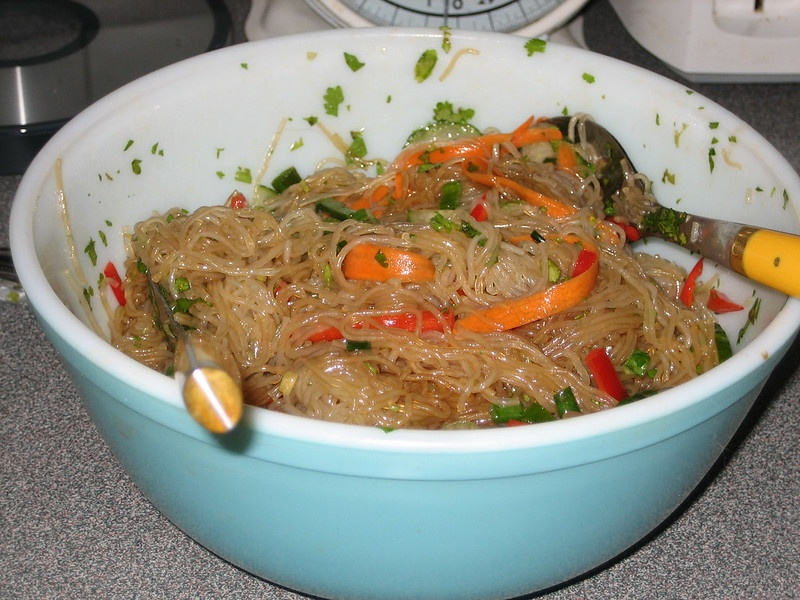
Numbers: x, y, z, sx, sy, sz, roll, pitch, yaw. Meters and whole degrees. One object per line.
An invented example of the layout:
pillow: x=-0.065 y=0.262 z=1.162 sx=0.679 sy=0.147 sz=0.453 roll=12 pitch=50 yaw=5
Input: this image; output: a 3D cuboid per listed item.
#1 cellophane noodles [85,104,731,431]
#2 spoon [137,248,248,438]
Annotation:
cellophane noodles: x=0.037 y=0.001 z=1.221 sx=0.735 sy=0.236 sz=0.543 roll=-16 pitch=42 yaw=-24
spoon: x=-0.281 y=0.056 z=1.035 sx=0.053 sy=0.068 sz=0.243 roll=-38 pitch=66 yaw=15
